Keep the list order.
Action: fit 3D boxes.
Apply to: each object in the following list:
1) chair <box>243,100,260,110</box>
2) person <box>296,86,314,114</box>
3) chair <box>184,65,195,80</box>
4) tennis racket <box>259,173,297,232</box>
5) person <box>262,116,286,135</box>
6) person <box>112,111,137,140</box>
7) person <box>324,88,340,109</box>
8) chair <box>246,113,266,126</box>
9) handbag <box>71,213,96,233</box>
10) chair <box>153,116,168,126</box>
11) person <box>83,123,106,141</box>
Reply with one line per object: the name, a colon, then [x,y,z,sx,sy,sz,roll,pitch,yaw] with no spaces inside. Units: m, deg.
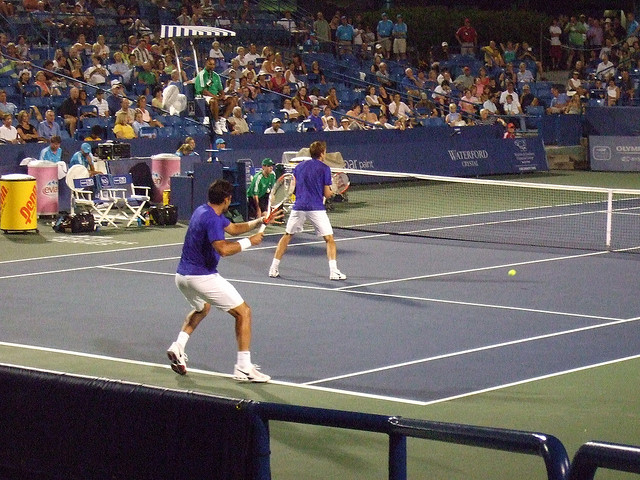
chair: [-2.115,-4.112,26.154,0.317,0.376,0.836,-6,12,12]
person: [-0.494,-4.443,27.280,0.458,0.853,1.000,-8,12,1]
chair: [-4.067,-5.234,26.745,0.300,0.415,1.214,-10,12,-7]
tennis racket: [-0.808,-0.944,17.316,0.528,0.188,2.105,21,42,0]
person: [-1.398,-3.335,25.196,0.734,0.540,0.362,2,-1,-39]
person: [-5.061,-2.876,21.877,0.544,1.045,0.730,1,8,5]
person: [0.315,-4.554,27.834,0.288,0.649,0.974,-4,13,17]
chair: [-1.947,-3.609,25.640,0.435,0.609,0.417,2,8,34]
handbag: [-4.990,-0.419,17.996,0.435,0.358,0.348,-1,8,-21]
chair: [-4.394,-3.264,23.495,0.267,0.288,0.298,-9,51,-8]
person: [-5.659,-2.672,21.411,0.586,0.387,1.487,-12,12,-13]
